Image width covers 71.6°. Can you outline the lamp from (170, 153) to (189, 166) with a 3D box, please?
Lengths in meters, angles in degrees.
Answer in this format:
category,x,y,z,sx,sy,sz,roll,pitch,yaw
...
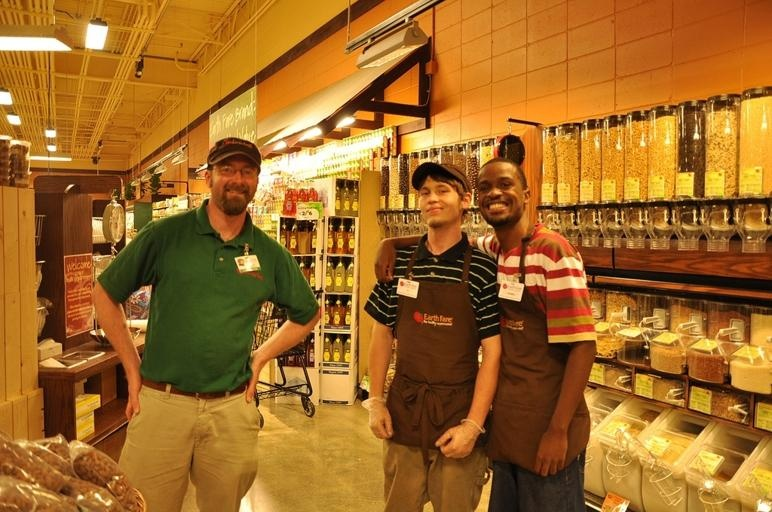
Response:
category,x,y,z,sx,sy,sz,roll,pitch,yaw
lamp,-4.395,-2.063,11.259,0.293,0.092,0.291,-8,-6,39

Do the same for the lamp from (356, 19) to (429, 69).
category,x,y,z,sx,sy,sz,roll,pitch,yaw
lamp,0.045,-1.891,4.780,0.230,0.310,0.752,-5,10,-32

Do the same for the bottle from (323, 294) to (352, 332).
category,x,y,z,sx,sy,sz,roll,pitch,yaw
bottle,-0.614,0.713,6.665,0.372,0.502,0.366,2,-3,0

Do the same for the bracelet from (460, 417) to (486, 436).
category,x,y,z,sx,sy,sz,roll,pitch,yaw
bracelet,0.474,0.929,2.930,0.048,0.121,0.093,-51,10,-23

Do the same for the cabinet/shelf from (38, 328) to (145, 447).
category,x,y,z,sx,sy,sz,roll,pitch,yaw
cabinet/shelf,-2.290,0.995,4.065,0.386,0.569,1.211,1,3,0

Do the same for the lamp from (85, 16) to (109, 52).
category,x,y,z,sx,sy,sz,roll,pitch,yaw
lamp,-3.783,-2.906,6.927,0.236,0.354,0.540,-5,9,-30

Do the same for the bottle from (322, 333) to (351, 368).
category,x,y,z,sx,sy,sz,roll,pitch,yaw
bottle,-0.619,1.158,6.625,0.359,0.315,0.158,0,8,-1
